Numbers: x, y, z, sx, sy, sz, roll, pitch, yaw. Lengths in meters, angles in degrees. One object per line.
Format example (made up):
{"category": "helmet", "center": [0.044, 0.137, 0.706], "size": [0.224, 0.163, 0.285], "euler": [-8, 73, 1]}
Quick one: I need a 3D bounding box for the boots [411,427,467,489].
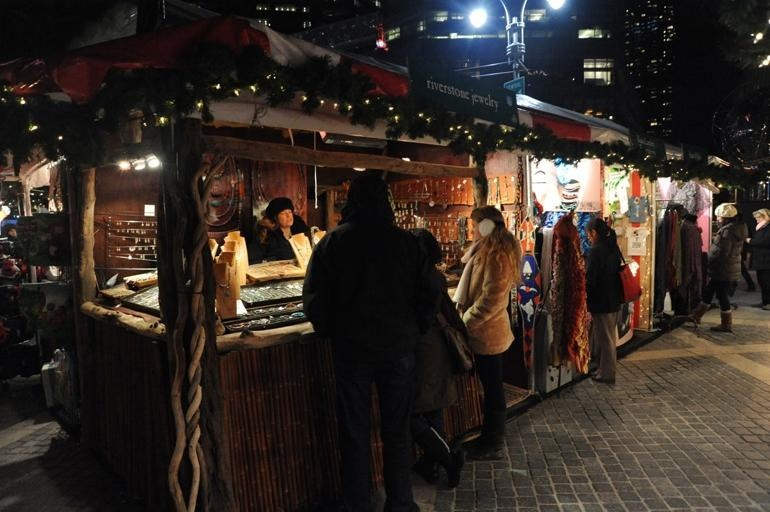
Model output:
{"category": "boots", "center": [0.605, 2.380, 6.528], "size": [0.256, 0.552, 0.774], "euler": [-18, 44, -25]}

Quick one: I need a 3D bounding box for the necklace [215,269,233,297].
{"category": "necklace", "center": [-1.753, 0.297, 6.133], "size": [0.162, 0.277, 0.055], "euler": [-4, 7, -22]}

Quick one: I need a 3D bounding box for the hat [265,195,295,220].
{"category": "hat", "center": [-1.532, -0.695, 8.094], "size": [0.360, 0.287, 0.295], "euler": [-33, 1, 12]}

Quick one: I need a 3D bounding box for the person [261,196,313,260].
{"category": "person", "center": [-1.418, -0.324, 8.113], "size": [0.844, 0.986, 0.559], "euler": [-8, 0, -26]}

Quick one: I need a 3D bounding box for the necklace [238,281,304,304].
{"category": "necklace", "center": [-1.332, 0.417, 6.650], "size": [0.724, 0.159, 0.532], "euler": [-3, 7, -15]}

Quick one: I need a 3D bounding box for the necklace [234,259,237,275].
{"category": "necklace", "center": [-1.651, 0.116, 6.229], "size": [0.016, 0.126, 0.014], "euler": [-5, -15, 21]}

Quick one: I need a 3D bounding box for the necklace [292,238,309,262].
{"category": "necklace", "center": [-1.082, -0.093, 7.296], "size": [0.183, 0.352, 0.080], "euler": [-9, -17, -27]}

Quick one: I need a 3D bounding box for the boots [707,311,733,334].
{"category": "boots", "center": [6.724, 1.281, 11.128], "size": [0.471, 0.410, 0.289], "euler": [-2, 7, -4]}

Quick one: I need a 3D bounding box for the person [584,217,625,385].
{"category": "person", "center": [3.474, 0.668, 8.899], "size": [0.545, 2.548, 0.800], "euler": [1, 7, 23]}

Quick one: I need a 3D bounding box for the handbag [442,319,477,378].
{"category": "handbag", "center": [0.795, 1.022, 6.205], "size": [0.200, 0.586, 0.416], "euler": [-14, -11, 36]}
